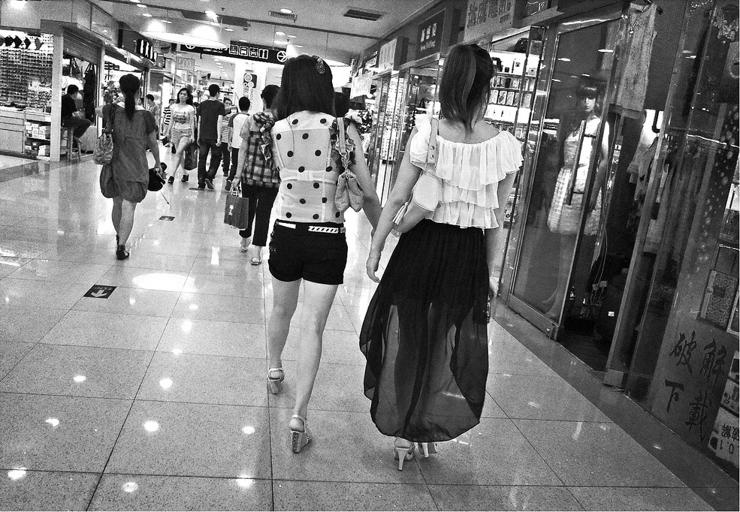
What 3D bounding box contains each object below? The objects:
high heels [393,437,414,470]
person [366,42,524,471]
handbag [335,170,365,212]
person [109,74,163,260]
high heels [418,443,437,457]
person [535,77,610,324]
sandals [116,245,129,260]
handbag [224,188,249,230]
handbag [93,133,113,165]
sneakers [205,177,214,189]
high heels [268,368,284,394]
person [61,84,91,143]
[{"bbox_3d":[0.173,1.038,2.498,0.063,0.103,0.192,1,10,4],"label":"high heels"},{"bbox_3d":[0.350,-0.019,2.376,0.727,1.961,0.290,4,13,0],"label":"person"},{"bbox_3d":[-0.104,-0.320,2.602,0.161,0.316,0.318,1,4,-1],"label":"handbag"},{"bbox_3d":[-2.430,-0.901,4.957,0.495,1.830,0.440,-3,15,-29],"label":"person"},{"bbox_3d":[0.314,1.061,2.592,0.073,0.109,0.122,1,-18,-5],"label":"high heels"},{"bbox_3d":[1.880,-0.506,4.461,0.252,2.067,0.515,0,14,-20],"label":"person"},{"bbox_3d":[-2.559,-0.035,4.970,0.074,0.119,0.167,5,19,5],"label":"sandals"},{"bbox_3d":[-1.422,-0.487,5.107,0.170,0.477,0.439,-7,26,-25],"label":"handbag"},{"bbox_3d":[-2.648,-1.037,4.733,0.168,0.312,0.093,1,7,-19],"label":"handbag"},{"bbox_3d":[-3.302,-1.476,9.849,0.149,0.225,0.253,-1,15,-20],"label":"sneakers"},{"bbox_3d":[-0.582,0.777,2.942,0.067,0.192,0.077,1,44,-5],"label":"high heels"},{"bbox_3d":[-7.586,-3.667,12.244,0.560,1.373,1.950,-3,16,-30],"label":"person"}]
